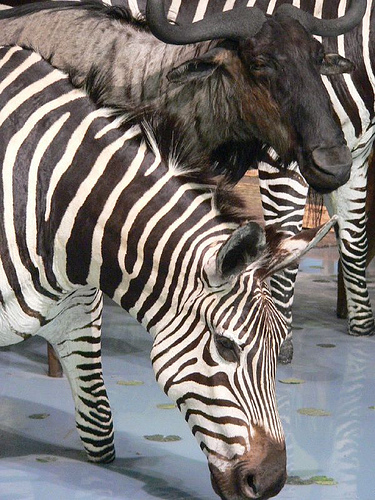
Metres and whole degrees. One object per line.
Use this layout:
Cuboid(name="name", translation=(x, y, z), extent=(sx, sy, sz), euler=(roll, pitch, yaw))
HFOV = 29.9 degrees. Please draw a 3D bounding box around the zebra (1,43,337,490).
Cuboid(name="zebra", translation=(-0.101, 0.088, 1.612), extent=(0.443, 1.123, 0.806), euler=(-4, 8, -44))
